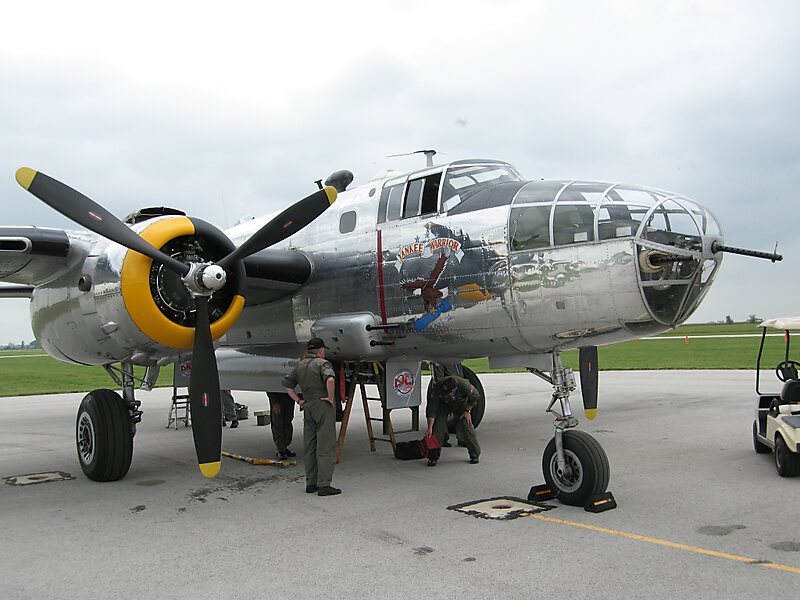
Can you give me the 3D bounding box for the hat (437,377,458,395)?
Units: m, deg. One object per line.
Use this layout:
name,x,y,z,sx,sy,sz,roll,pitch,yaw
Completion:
hat,0.755,1.377,10.447,0.386,0.248,0.286,3,-2,-38

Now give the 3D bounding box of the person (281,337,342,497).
person,-1.192,1.626,9.178,0.526,2.184,0.748,-3,0,-35

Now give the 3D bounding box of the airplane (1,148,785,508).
airplane,-0.894,-0.247,9.251,8.414,2.142,7.849,0,-1,-44
